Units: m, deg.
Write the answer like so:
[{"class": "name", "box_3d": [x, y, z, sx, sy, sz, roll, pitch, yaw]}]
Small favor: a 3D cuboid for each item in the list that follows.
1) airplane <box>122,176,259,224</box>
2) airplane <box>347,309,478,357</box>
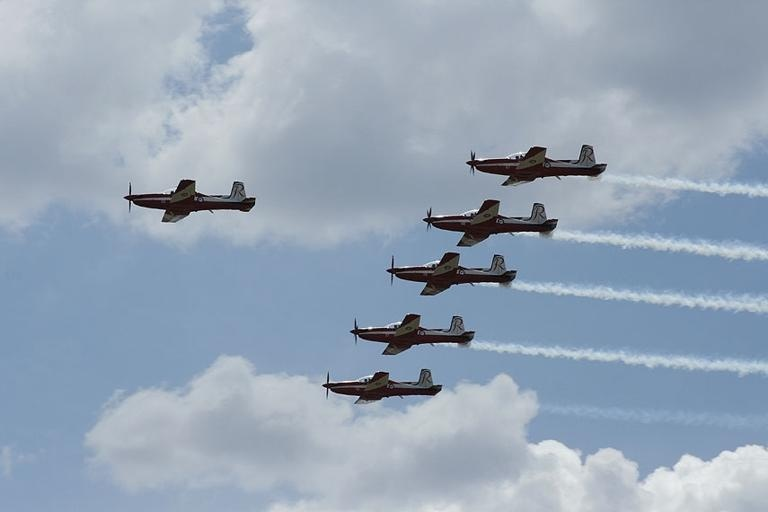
[{"class": "airplane", "box_3d": [-24.873, -7.271, 204.468, 15.883, 3.993, 16.240, 3, -17, -21]}, {"class": "airplane", "box_3d": [3.579, 9.791, 208.544, 15.347, 14.959, 3.420, 1, -73, 10]}]
